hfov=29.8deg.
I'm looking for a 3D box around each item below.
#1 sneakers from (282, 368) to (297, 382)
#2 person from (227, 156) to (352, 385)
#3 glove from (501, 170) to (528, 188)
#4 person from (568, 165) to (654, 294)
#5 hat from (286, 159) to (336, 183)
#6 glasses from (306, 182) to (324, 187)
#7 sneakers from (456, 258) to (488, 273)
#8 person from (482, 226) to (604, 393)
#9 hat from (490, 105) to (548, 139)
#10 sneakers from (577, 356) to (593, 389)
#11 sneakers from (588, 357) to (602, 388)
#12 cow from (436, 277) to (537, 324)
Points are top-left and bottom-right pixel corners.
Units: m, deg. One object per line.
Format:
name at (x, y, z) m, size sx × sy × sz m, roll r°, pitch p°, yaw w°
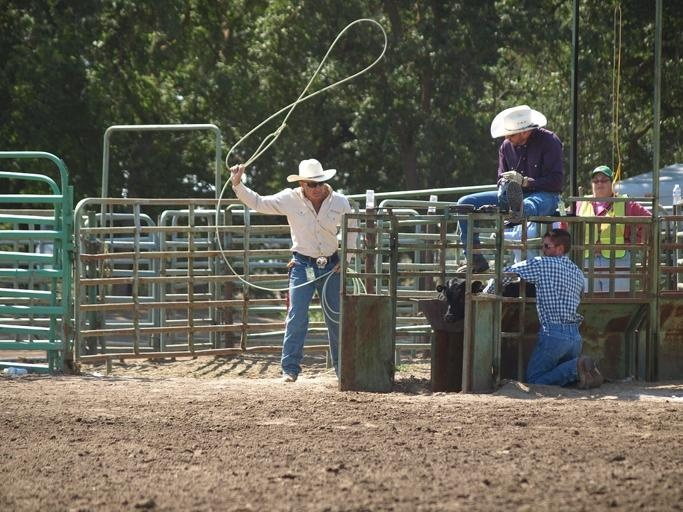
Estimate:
sneakers at (-0.774, 1.779, 18.676) m, size 0.188 × 0.279 × 0.160 m, roll 4°, pitch -30°, yaw -7°
person at (-0.587, 0.222, 18.652) m, size 1.411 × 3.169 × 0.545 m, roll -1°, pitch -4°, yaw -2°
glove at (2.465, -1.074, 18.076) m, size 0.282 × 0.139 × 0.228 m, roll 16°, pitch -1°, yaw -17°
person at (3.959, -0.321, 18.803) m, size 1.120 × 2.161 × 0.760 m, roll -19°, pitch -50°, yaw 27°
hat at (-0.523, -1.178, 18.769) m, size 0.547 × 0.279 × 0.605 m, roll -8°, pitch -2°, yaw -40°
glasses at (-0.409, -1.014, 18.538) m, size 0.224 × 0.075 × 0.072 m, roll -2°, pitch -5°, yaw 1°
sneakers at (1.869, 0.167, 18.240) m, size 0.436 × 0.215 × 0.203 m, roll 0°, pitch -10°, yaw -10°
person at (3.001, 0.741, 17.813) m, size 1.047 × 2.191 × 0.356 m, roll -2°, pitch -4°, yaw 9°
hat at (2.560, -1.929, 18.551) m, size 0.896 × 0.391 × 0.817 m, roll -19°, pitch 14°, yaw -19°
sneakers at (3.361, 1.612, 17.704) m, size 0.160 × 0.497 × 0.195 m, roll 2°, pitch -7°, yaw -32°
sneakers at (3.497, 1.628, 17.834) m, size 0.219 × 0.424 × 0.106 m, roll -3°, pitch -4°, yaw -36°
cow at (2.064, 0.573, 18.056) m, size 1.492 × 0.908 × 0.594 m, roll 2°, pitch -11°, yaw -4°
